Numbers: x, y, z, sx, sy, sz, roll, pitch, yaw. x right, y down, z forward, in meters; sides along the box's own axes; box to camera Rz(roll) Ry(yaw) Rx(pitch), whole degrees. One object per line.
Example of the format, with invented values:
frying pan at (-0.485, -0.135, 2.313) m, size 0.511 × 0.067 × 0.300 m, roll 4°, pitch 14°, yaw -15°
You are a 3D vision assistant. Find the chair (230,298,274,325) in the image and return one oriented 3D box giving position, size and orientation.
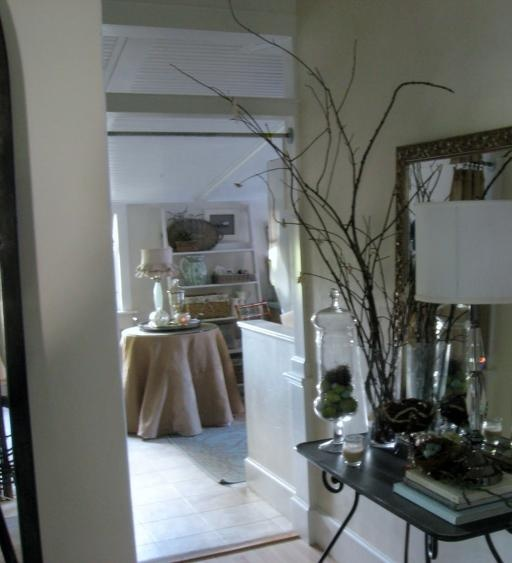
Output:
chair at (-0.048, 0.292, 4.936) m, size 0.236 × 0.411 × 0.245 m, roll -1°, pitch -3°, yaw -22°

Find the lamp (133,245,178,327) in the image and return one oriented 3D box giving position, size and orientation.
lamp at (-0.845, 0.045, 4.299) m, size 0.278 × 0.663 × 0.357 m, roll -5°, pitch 5°, yaw -37°

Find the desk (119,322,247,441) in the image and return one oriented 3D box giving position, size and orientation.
desk at (-0.645, 0.796, 4.334) m, size 1.051 × 0.738 × 0.933 m, roll -5°, pitch 4°, yaw -20°

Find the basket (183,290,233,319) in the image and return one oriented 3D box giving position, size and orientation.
basket at (-0.395, 0.213, 4.429) m, size 0.464 × 0.231 × 0.195 m, roll -4°, pitch 4°, yaw -25°

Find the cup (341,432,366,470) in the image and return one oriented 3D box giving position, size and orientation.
cup at (0.325, 0.563, 1.690) m, size 0.076 × 0.095 × 0.076 m, roll 2°, pitch 0°, yaw 0°

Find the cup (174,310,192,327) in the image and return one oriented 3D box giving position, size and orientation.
cup at (-0.611, 0.307, 4.207) m, size 0.118 × 0.115 × 0.119 m, roll -2°, pitch 0°, yaw 0°

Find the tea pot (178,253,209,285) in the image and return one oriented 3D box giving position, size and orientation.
tea pot at (-0.543, -0.109, 4.399) m, size 0.257 × 0.304 × 0.244 m, roll -3°, pitch 2°, yaw 0°
